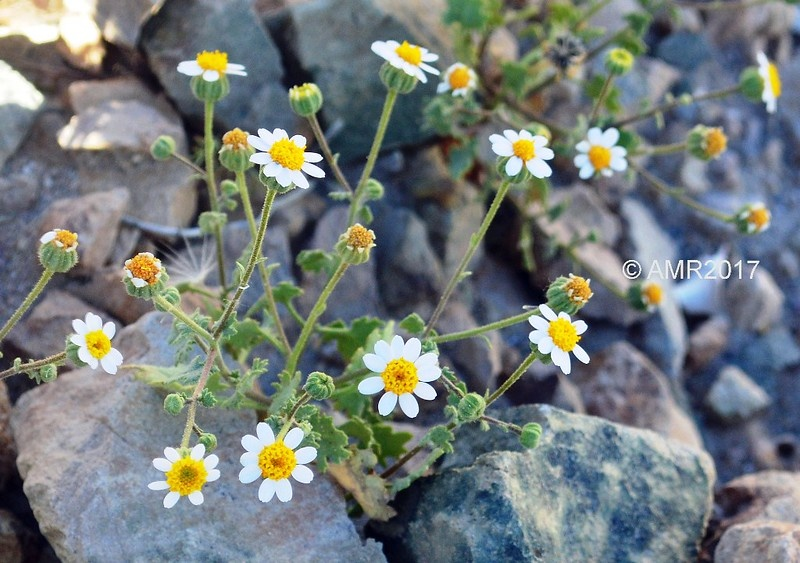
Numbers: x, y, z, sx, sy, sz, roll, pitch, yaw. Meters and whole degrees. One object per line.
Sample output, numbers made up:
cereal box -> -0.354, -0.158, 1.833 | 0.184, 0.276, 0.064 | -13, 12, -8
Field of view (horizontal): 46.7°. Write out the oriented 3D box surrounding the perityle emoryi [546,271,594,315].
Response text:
perityle emoryi -> 1.133, 0.060, 6.024 | 0.349, 0.196, 0.312 | -21, 25, -40

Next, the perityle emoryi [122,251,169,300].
perityle emoryi -> -1.576, -0.039, 5.727 | 0.252, 0.206, 0.235 | 14, 48, -11

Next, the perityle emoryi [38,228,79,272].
perityle emoryi -> -2.162, -0.213, 5.891 | 0.242, 0.255, 0.282 | 27, 78, -19

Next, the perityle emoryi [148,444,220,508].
perityle emoryi -> -1.331, 1.212, 5.687 | 0.394, 0.361, 0.286 | 3, 49, -19

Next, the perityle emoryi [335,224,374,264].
perityle emoryi -> -0.281, -0.226, 5.876 | 0.213, 0.091, 0.257 | -23, 96, -2
